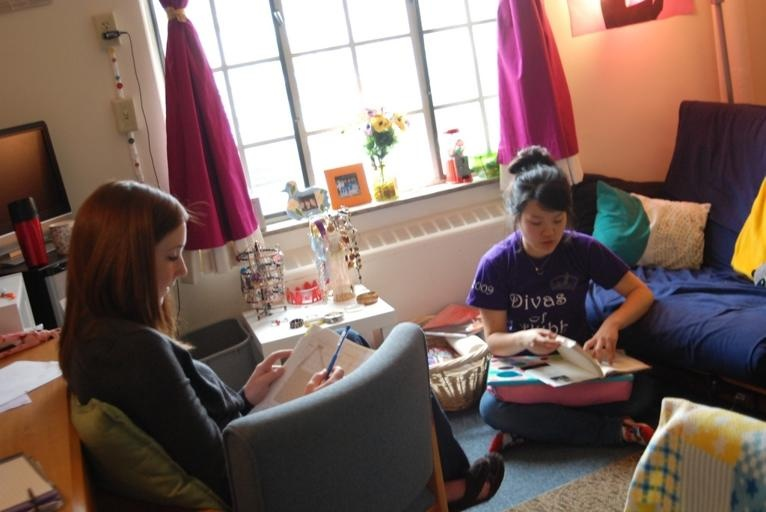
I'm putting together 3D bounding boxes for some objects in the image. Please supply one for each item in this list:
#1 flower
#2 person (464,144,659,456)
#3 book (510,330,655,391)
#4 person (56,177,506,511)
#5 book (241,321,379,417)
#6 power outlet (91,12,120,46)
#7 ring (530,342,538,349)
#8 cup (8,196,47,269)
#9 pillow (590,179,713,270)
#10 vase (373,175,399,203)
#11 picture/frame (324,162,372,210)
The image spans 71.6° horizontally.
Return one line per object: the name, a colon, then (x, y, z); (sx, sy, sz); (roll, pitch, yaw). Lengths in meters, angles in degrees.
flower: (0.016, -0.692, 3.215); (0.193, 0.343, 0.206); (-16, -5, 2)
person: (0.762, 0.174, 2.335); (0.818, 1.238, 0.880); (-17, 19, -30)
book: (0.845, 0.444, 2.221); (0.367, 0.152, 0.270); (-20, 15, -22)
person: (-0.306, 0.086, 2.055); (1.458, 1.198, 0.669); (-11, 12, -23)
book: (-0.245, 0.361, 1.762); (0.308, 0.332, 0.090); (29, -21, 14)
power outlet: (-1.458, -1.187, 2.810); (0.017, 0.180, 0.129); (23, 41, 24)
ring: (0.629, 0.375, 2.231); (0.007, 0.023, 0.022); (7, -15, -35)
cup: (-1.560, -0.104, 2.353); (0.102, 0.228, 0.169); (-20, 15, -33)
pillow: (1.486, -0.147, 2.979); (0.497, 0.533, 0.172); (6, -21, 11)
vase: (0.017, -0.411, 3.306); (0.141, 0.152, 0.144); (-5, 1, -7)
picture/frame: (-0.215, -0.419, 3.266); (0.275, 0.291, 0.019); (-18, 6, -12)
